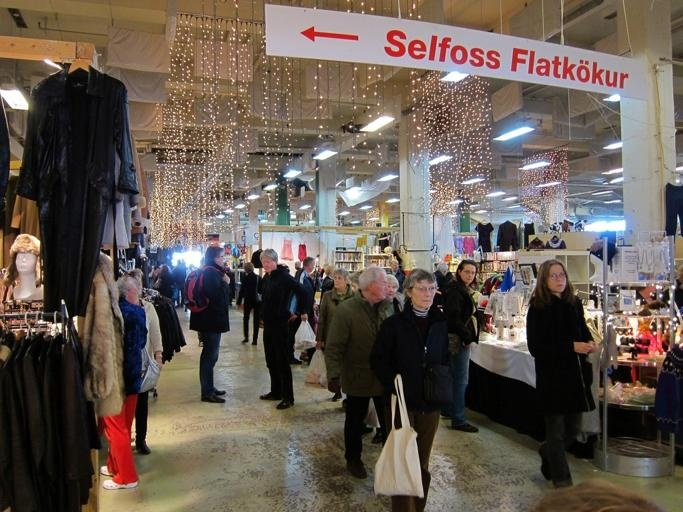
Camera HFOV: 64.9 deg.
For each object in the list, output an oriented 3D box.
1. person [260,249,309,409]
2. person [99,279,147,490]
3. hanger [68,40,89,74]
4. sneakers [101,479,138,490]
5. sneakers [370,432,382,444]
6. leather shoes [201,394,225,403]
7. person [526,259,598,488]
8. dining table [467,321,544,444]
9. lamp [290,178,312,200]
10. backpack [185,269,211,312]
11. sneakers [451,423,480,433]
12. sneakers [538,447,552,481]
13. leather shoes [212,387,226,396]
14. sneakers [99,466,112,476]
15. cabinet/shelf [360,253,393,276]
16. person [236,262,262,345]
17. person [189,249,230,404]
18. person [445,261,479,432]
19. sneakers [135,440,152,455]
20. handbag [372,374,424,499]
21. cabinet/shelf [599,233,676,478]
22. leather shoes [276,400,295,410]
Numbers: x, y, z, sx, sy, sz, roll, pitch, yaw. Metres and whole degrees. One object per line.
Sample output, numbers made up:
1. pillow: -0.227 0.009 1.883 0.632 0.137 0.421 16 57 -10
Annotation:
1. person: -0.747 0.898 6.759 0.575 1.960 0.581 -1 2 -10
2. person: -1.809 1.092 4.475 0.381 1.807 0.980 -2 2 -25
3. hanger: -1.823 -1.390 3.755 0.141 0.211 0.063 -1 2 -1
4. sneakers: -1.903 1.971 4.611 0.264 0.087 0.110 7 -7 -5
5. sneakers: 0.354 1.839 5.424 0.074 0.097 0.214 3 5 1
6. leather shoes: -1.654 1.822 6.910 0.324 0.132 0.116 -1 -4 3
7. person: 1.816 0.995 4.428 0.515 1.907 0.491 0 2 13
8. dining table: 1.767 1.409 5.848 0.749 0.512 0.758 1 1 -35
9. lamp: -1.381 -2.389 18.675 0.594 0.626 1.903 -1 3 0
10. backpack: -1.844 0.385 6.913 0.311 0.595 0.379 -5 20 -18
11. sneakers: 1.332 1.843 5.741 0.285 0.129 0.108 -1 -3 3
12. sneakers: 1.761 1.781 4.629 0.107 0.293 0.089 16 23 42
13. leather shoes: -1.619 1.809 7.134 0.189 0.086 0.074 0 -3 2
14. sneakers: -2.133 1.946 4.847 0.146 0.050 0.058 1 -4 40
15. cabinet/shelf: 0.905 0.348 13.638 0.408 0.799 0.767 0 -1 -38
16. person: -2.007 1.004 11.765 0.458 1.763 1.528 -1 2 -10
17. person: -1.702 0.878 6.848 0.507 1.994 0.286 -1 2 -19
18. person: 1.278 0.979 5.726 0.344 1.834 0.904 0 2 13
19. sneakers: -1.958 1.892 5.300 0.203 0.163 0.075 4 -2 -9
20. handbag: 0.391 1.283 3.719 0.312 0.851 0.341 -1 2 4
21. cabinet/shelf: 2.800 0.882 5.056 0.604 2.104 0.974 1 3 33
22. leather shoes: -0.691 1.836 6.628 0.208 0.096 0.085 3 -8 -30
